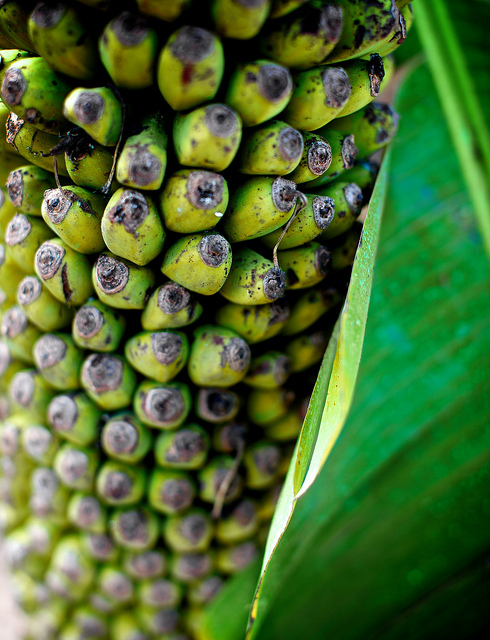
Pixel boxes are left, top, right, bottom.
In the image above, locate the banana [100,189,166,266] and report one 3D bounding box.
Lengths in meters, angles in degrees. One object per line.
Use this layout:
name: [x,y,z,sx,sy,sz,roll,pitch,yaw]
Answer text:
banana: [-0.105,-0.087,0.607,0.051,0.044,0.068,-24,-32,-11]
